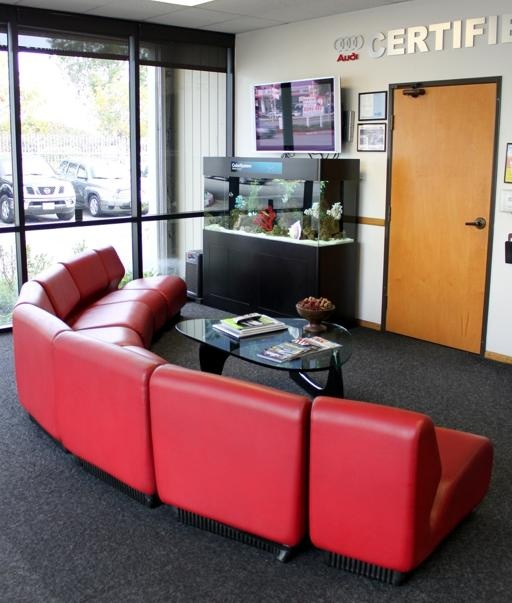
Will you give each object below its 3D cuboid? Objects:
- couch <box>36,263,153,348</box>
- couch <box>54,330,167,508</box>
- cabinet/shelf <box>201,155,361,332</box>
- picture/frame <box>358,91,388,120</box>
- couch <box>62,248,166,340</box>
[{"bbox_3d":[-1.305,-0.033,4.384,0.708,0.601,1.359,5,17,-2],"label":"couch"},{"bbox_3d":[-0.684,0.568,2.287,0.385,0.470,0.691,-16,24,-42],"label":"couch"},{"bbox_3d":[0.323,-0.639,5.144,1.888,1.712,0.621,9,12,44],"label":"cabinet/shelf"},{"bbox_3d":[1.179,-1.981,4.967,0.332,0.275,0.037,10,13,44],"label":"picture/frame"},{"bbox_3d":[-1.322,-0.068,4.545,0.518,0.592,0.939,0,15,7],"label":"couch"}]
